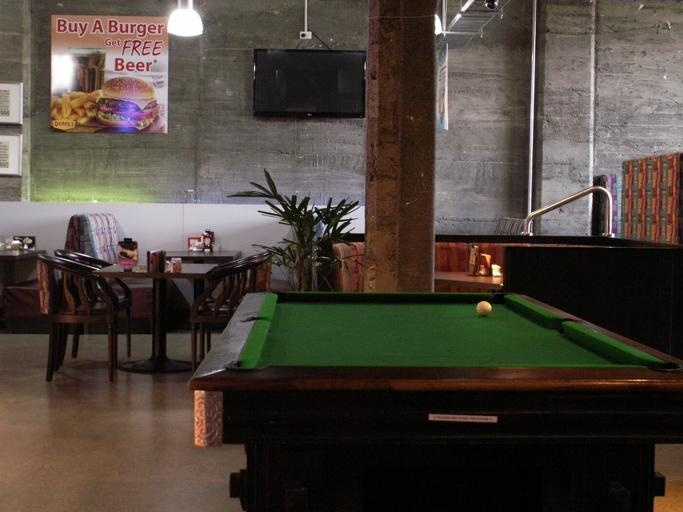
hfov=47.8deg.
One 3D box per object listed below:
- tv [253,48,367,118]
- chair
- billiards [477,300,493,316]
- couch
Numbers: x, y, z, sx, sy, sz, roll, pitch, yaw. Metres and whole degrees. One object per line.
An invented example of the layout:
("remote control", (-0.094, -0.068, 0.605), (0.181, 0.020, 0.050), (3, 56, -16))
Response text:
("tv", (-0.393, -2.110, 9.454), (1.372, 0.811, 0.087), (-1, 12, -2))
("chair", (-1.856, 0.381, 6.845), (1.406, 0.872, 1.369), (0, 2, -7))
("billiards", (0.817, 0.293, 4.347), (0.080, 0.078, 0.077), (16, -25, 4))
("couch", (-2.734, 0.084, 8.502), (1.416, 1.253, 1.376), (-1, 1, 3))
